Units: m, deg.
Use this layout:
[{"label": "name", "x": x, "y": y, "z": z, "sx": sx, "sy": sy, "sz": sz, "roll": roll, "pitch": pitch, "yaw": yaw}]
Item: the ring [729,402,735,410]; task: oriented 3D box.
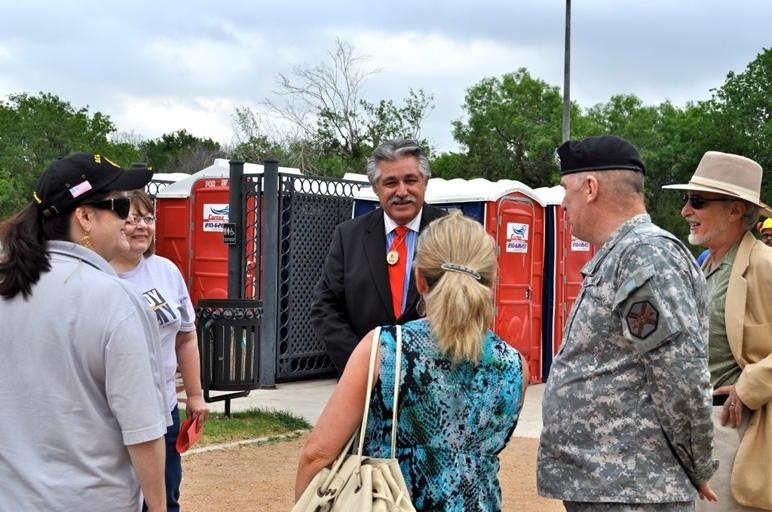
[{"label": "ring", "x": 2.197, "y": 0.947, "z": 5.859, "sx": 0.027, "sy": 0.023, "sz": 0.039, "roll": -3, "pitch": 13, "yaw": 12}]

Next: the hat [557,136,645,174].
[{"label": "hat", "x": 1.234, "y": -0.587, "z": 5.335, "sx": 0.322, "sy": 0.149, "sz": 0.259, "roll": 0, "pitch": -1, "yaw": 9}]

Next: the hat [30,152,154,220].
[{"label": "hat", "x": -1.550, "y": -0.414, "z": 4.849, "sx": 0.477, "sy": 0.213, "sz": 0.314, "roll": -16, "pitch": 22, "yaw": -19}]
